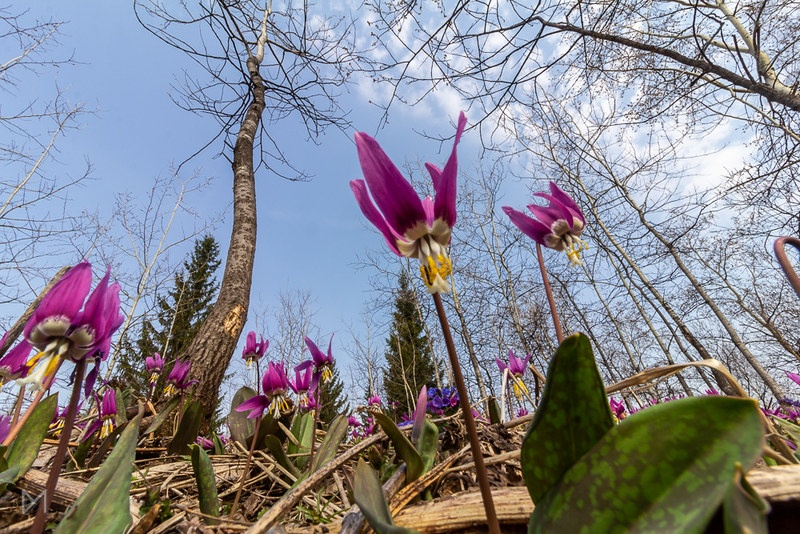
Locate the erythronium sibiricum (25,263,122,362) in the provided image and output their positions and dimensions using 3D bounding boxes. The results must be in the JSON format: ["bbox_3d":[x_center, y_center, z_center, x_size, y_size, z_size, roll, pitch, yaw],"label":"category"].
[{"bbox_3d":[-1.110,0.178,1.404,0.222,0.265,0.271,15,-40,55],"label":"erythronium sibiricum"}]
